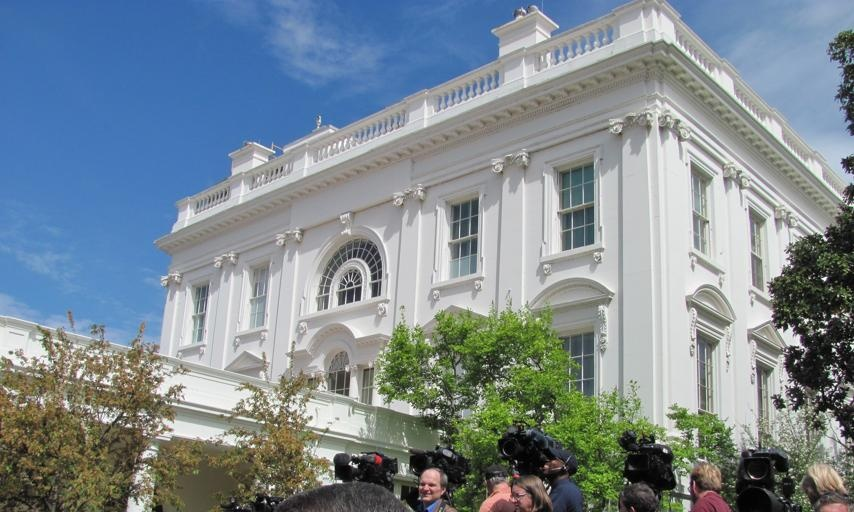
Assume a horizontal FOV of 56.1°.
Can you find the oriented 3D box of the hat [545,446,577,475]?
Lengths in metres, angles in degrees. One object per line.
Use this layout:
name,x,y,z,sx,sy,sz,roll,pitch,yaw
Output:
hat,2.495,3.658,14.496,0.603,0.328,0.425,35,6,7
